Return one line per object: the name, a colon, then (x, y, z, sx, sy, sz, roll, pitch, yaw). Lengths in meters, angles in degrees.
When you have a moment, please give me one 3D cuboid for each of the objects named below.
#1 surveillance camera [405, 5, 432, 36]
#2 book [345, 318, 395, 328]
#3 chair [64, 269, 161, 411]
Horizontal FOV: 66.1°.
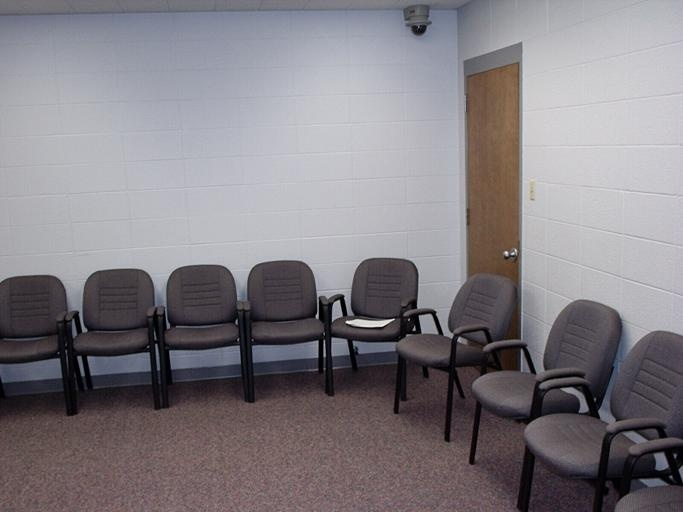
surveillance camera: (0.698, -2.139, 4.777, 0.252, 0.225, 0.259, -2, 13, 1)
book: (0.248, 0.569, 4.504, 0.425, 0.050, 0.320, -1, 13, 6)
chair: (-1.952, 0.688, 4.491, 0.831, 1.056, 0.721, -3, 13, -7)
